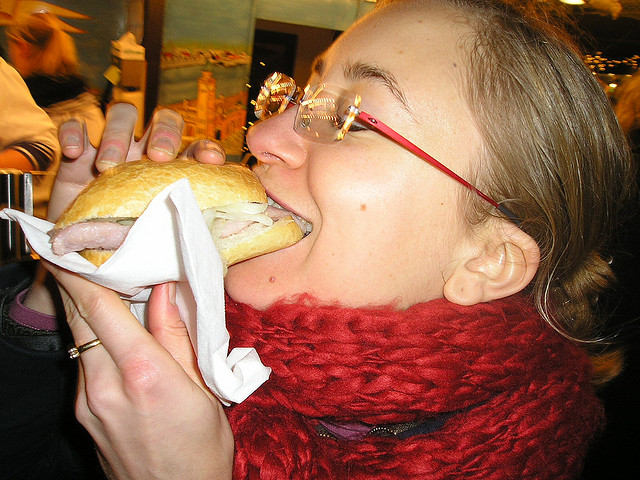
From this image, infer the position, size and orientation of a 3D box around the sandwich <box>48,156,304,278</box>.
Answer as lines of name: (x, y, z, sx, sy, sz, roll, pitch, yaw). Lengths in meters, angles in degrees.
sandwich: (-0.596, -0.046, 2.353, 0.726, 0.231, 0.521, 5, 26, -32)

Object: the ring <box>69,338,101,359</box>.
ring: (-0.981, 0.449, 2.413, 0.098, 0.095, 0.034, -20, 68, -38)
